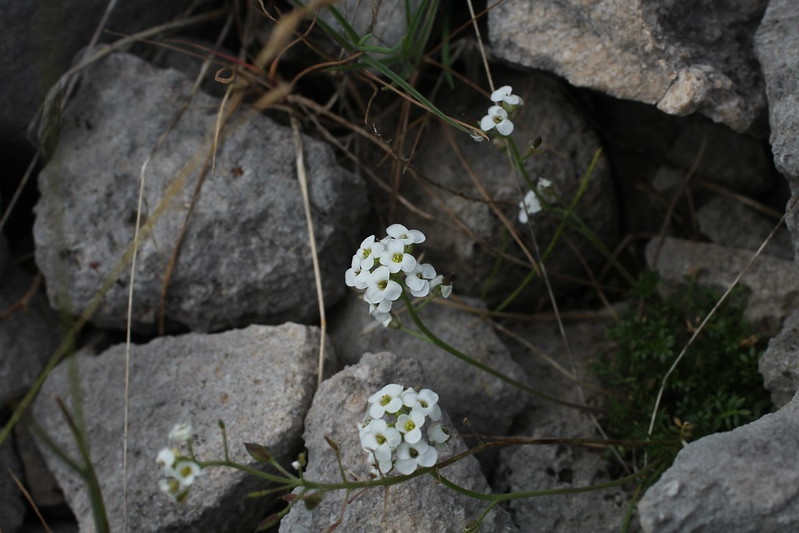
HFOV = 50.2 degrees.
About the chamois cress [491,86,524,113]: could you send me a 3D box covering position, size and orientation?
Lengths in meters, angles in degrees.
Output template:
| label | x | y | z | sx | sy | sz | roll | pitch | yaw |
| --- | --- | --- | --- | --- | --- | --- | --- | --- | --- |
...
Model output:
| label | x | y | z | sx | sy | sz | roll | pitch | yaw |
| --- | --- | --- | --- | --- | --- | --- | --- | --- | --- |
| chamois cress | 0.460 | -0.711 | 3.635 | 0.133 | 0.068 | 0.158 | 18 | 42 | -17 |
